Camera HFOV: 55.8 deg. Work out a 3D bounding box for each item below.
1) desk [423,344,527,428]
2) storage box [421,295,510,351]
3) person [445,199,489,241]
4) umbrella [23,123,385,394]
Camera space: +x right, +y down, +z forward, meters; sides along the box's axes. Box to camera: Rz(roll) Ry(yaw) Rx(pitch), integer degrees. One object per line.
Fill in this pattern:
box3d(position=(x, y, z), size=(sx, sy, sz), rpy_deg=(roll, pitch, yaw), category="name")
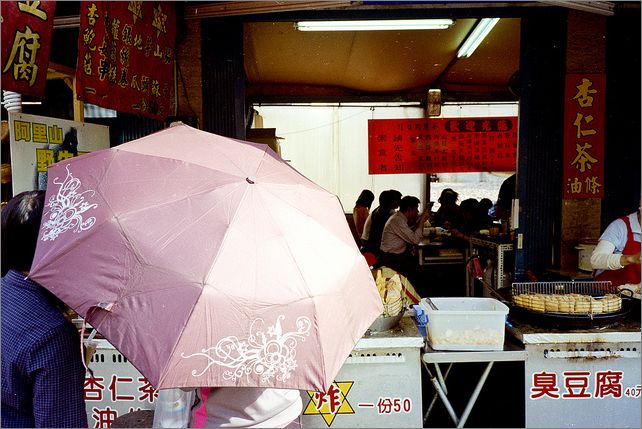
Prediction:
box3d(position=(1.155, 1.226, 4.821), size=(0.705, 0.747, 0.739), rpy_deg=(1, 1, -2), category="desk")
box3d(position=(1.128, 0.865, 4.782), size=(0.674, 0.259, 0.371), rpy_deg=(1, -1, 9), category="storage box")
box3d(position=(2.207, 0.071, 8.901), size=(0.525, 0.602, 0.814), rpy_deg=(1, -1, 17), category="person")
box3d(position=(-0.695, 0.246, 3.639), size=(1.958, 1.358, 0.635), rpy_deg=(1, -1, 4), category="umbrella")
